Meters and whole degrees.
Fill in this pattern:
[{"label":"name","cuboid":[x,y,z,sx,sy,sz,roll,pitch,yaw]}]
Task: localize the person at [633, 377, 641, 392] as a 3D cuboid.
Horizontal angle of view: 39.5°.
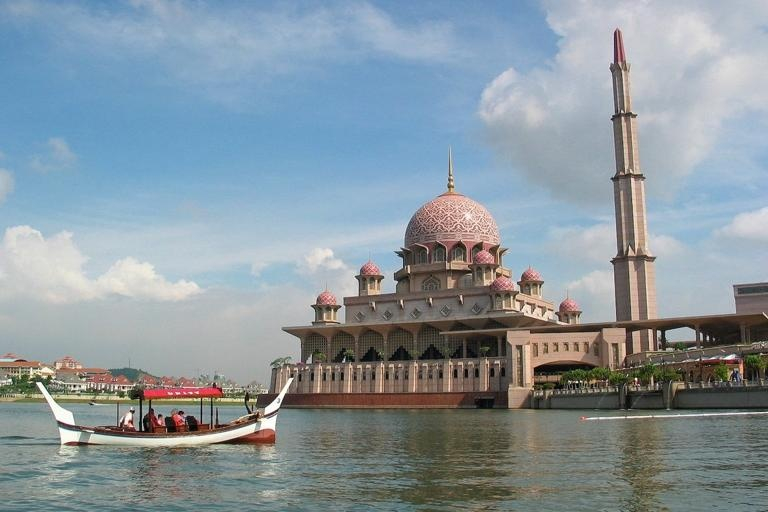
[{"label":"person","cuboid":[21.700,10.998,91.811,0.593,0.846,1.571,2,-23,17]}]
